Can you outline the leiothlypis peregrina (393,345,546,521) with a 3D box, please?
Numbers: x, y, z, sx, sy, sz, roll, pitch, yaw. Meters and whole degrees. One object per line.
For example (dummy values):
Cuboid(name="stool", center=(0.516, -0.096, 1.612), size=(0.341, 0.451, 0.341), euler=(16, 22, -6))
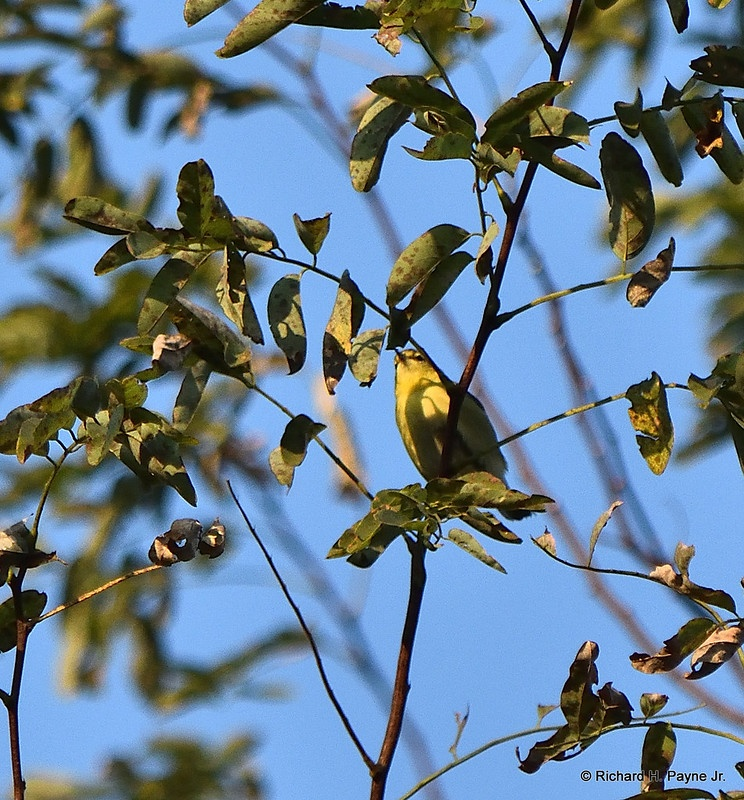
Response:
Cuboid(name="leiothlypis peregrina", center=(0.100, 0.057, 1.908), size=(0.105, 0.237, 0.194), euler=(-35, -42, 25))
